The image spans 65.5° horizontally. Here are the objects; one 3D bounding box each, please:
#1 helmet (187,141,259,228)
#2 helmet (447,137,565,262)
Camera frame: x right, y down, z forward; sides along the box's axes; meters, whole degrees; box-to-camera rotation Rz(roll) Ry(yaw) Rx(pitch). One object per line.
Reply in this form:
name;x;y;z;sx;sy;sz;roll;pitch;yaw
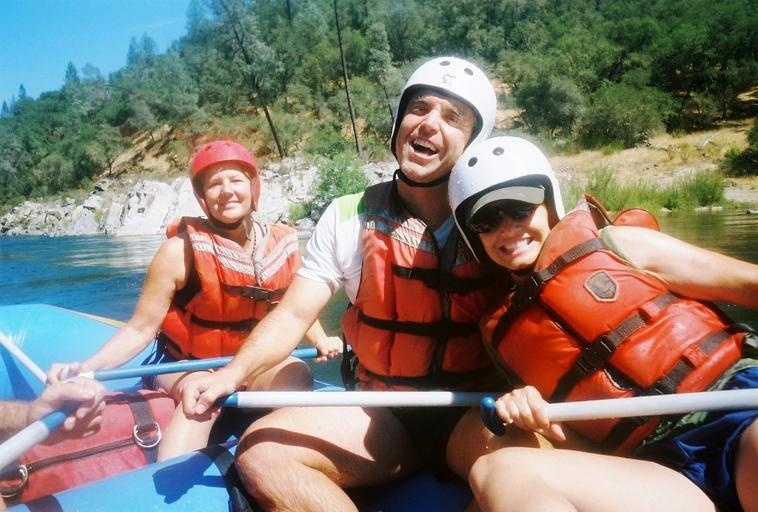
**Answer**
helmet;-0.993;-0.441;3.917;0.410;0.586;0.559;-10;-18;-19
helmet;0.578;-0.285;3.045;0.466;0.553;0.668;-17;-6;7
